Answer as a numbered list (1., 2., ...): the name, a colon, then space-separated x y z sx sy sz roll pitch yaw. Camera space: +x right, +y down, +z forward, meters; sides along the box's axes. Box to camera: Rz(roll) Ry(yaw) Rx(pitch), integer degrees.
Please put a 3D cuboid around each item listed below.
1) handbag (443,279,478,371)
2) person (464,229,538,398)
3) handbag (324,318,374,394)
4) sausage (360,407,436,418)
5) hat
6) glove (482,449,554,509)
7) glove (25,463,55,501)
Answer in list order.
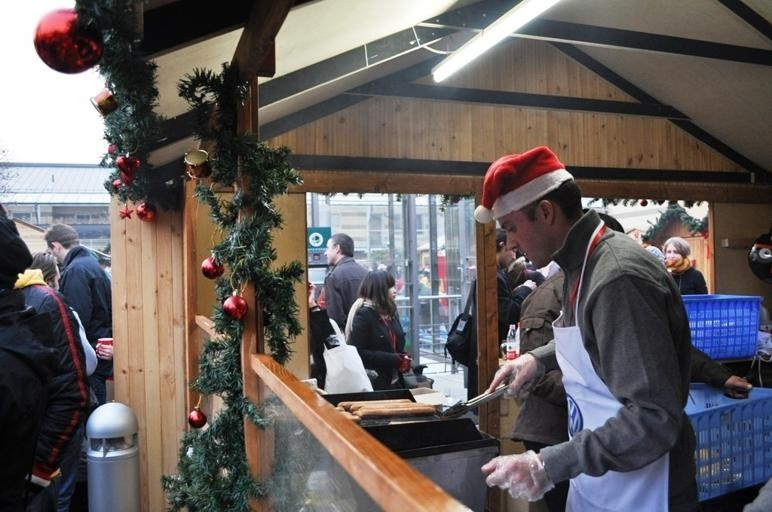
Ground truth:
1. handbag: 0.749 0.666 6.716 0.346 0.843 0.219 -5 -6 23
2. person: 1.230 0.430 6.874 0.443 1.765 0.517 -11 8 1
3. handbag: -0.296 0.818 5.159 0.330 0.400 0.221 -3 -5 -7
4. sausage: 0.057 0.886 3.844 0.440 0.069 0.035 -3 -5 -11
5. hat: 0.726 -0.394 3.677 0.570 0.378 0.451 -13 -3 -7
6. glove: 0.638 1.080 3.249 0.277 0.144 0.212 10 0 -17
7. glove: -2.085 1.408 4.155 0.162 0.248 0.070 7 17 -22
